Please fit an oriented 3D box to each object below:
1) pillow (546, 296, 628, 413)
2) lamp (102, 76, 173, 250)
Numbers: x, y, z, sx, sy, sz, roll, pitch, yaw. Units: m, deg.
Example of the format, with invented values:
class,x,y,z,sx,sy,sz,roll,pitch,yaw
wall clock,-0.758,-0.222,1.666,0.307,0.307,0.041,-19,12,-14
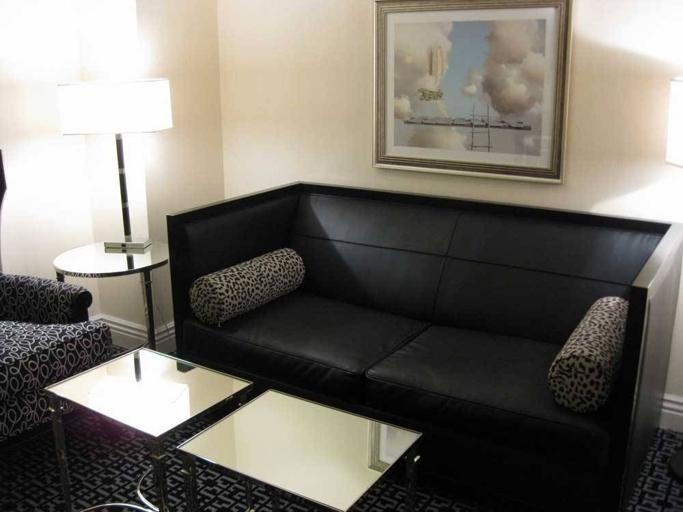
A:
class,x,y,z,sx,sy,sz,roll,pitch,yaw
pillow,0.982,0.348,2.104,0.229,0.409,0.416,10,20,28
lamp,-1.174,-0.501,3.012,0.436,0.963,0.269,-4,18,-14
